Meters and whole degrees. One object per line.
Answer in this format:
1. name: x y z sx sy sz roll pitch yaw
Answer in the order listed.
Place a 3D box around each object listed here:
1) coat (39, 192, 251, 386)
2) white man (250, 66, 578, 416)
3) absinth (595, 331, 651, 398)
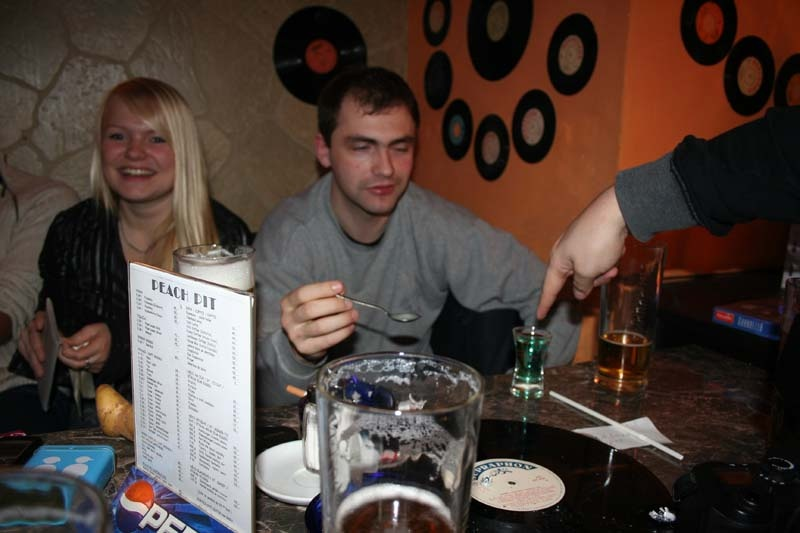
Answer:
1. coat: -0.896 0.071 2.020 0.539 0.721 0.258 -1 -15 -14
2. white man: 0.132 -0.144 2.534 1.208 1.463 1.024 -11 37 -18
3. absinth: 0.661 0.268 1.834 0.170 0.193 0.169 11 12 38
